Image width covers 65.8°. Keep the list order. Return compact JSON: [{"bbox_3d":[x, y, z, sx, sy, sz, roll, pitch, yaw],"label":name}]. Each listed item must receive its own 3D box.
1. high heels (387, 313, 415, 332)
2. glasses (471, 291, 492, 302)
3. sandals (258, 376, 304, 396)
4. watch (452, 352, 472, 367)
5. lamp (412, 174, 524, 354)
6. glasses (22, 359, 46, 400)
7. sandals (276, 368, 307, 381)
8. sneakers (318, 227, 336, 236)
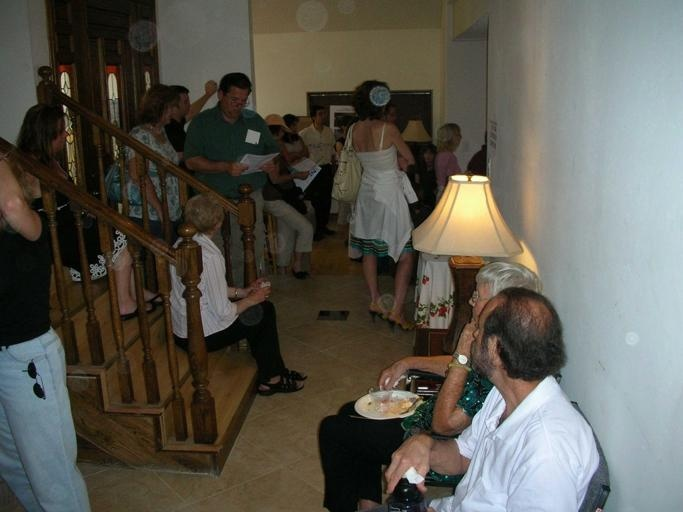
[{"bbox_3d":[0.551,0.622,4.953,0.242,0.119,0.133,4,8,3],"label":"high heels"},{"bbox_3d":[0.610,0.186,2.318,0.053,0.031,0.043,13,24,10],"label":"glasses"},{"bbox_3d":[-0.451,0.962,3.953,0.336,0.155,0.128,-8,21,-7],"label":"sandals"},{"bbox_3d":[0.501,0.433,2.210,0.066,0.045,0.068,2,-1,12],"label":"watch"},{"bbox_3d":[0.634,-0.127,2.758,0.458,0.586,0.476,6,16,22],"label":"lamp"},{"bbox_3d":[-1.314,0.532,2.267,0.059,0.175,0.028,0,15,1],"label":"glasses"},{"bbox_3d":[-0.379,0.884,3.976,0.224,0.080,0.083,9,38,-14],"label":"sandals"},{"bbox_3d":[-0.247,-0.436,8.743,0.294,0.108,0.216,-4,-26,-6],"label":"sneakers"}]
